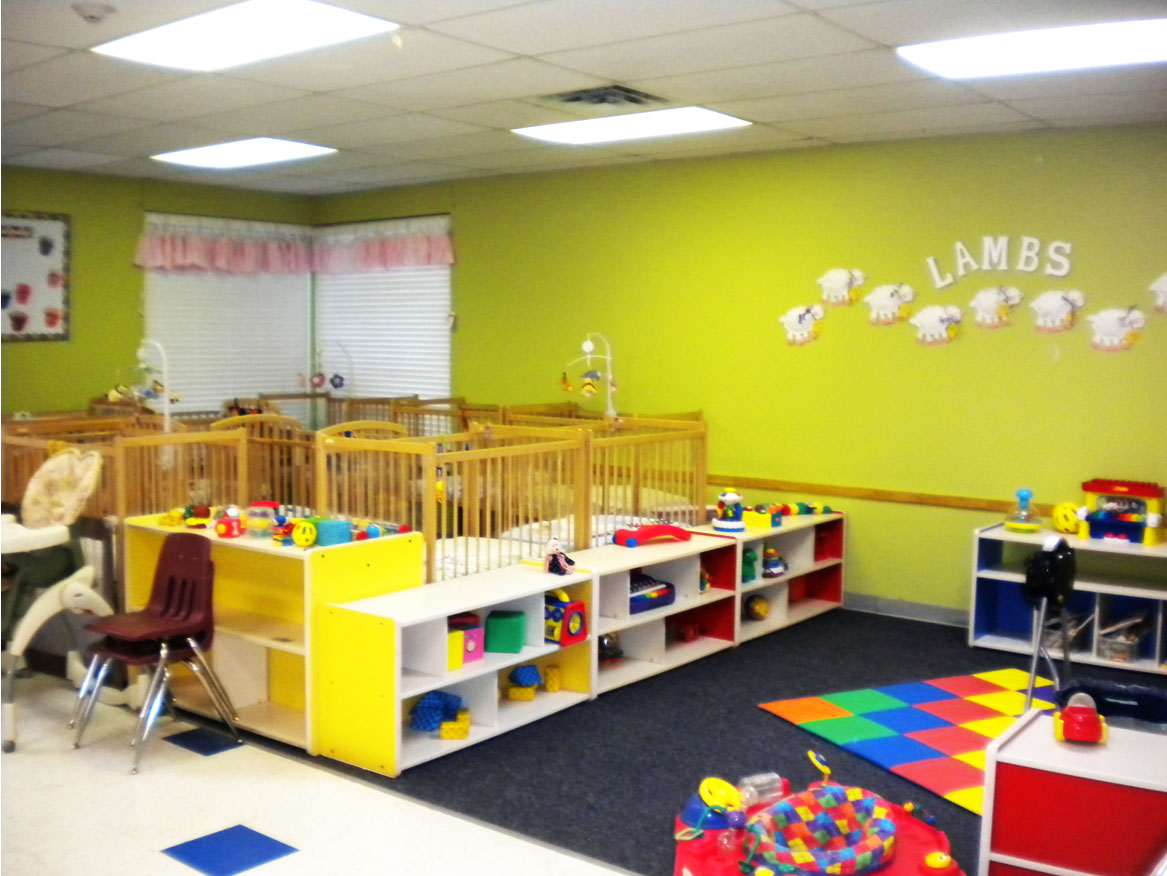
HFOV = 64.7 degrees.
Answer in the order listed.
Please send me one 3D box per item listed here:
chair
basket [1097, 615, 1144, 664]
[{"bbox_3d":[-2.510,0.715,4.418,1.645,1.255,0.765,8,12,37],"label":"chair"},{"bbox_3d":[3.116,1.124,5.313,0.185,0.115,0.303,4,28,41],"label":"basket"}]
